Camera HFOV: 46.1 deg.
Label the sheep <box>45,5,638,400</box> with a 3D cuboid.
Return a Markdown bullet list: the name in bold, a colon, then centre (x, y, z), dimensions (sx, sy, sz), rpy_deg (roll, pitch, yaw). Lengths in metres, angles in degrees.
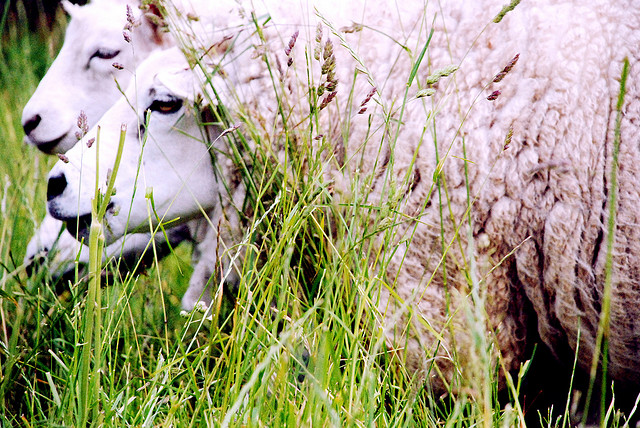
- **sheep**: centre (-0.023, -0.195, 3.165), dimensions (2.657, 1.684, 1.057), rpy_deg (7, 4, -6)
